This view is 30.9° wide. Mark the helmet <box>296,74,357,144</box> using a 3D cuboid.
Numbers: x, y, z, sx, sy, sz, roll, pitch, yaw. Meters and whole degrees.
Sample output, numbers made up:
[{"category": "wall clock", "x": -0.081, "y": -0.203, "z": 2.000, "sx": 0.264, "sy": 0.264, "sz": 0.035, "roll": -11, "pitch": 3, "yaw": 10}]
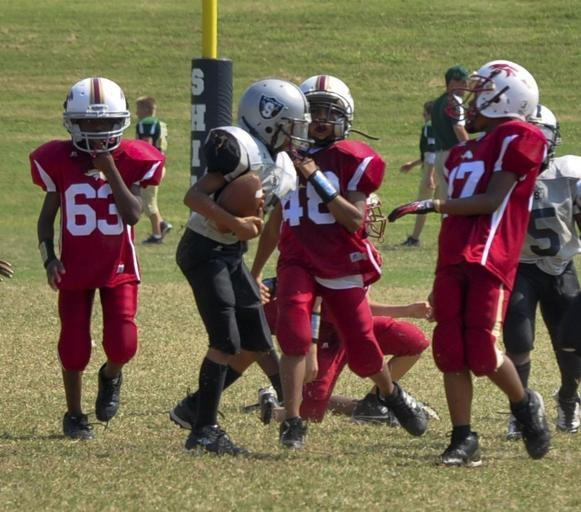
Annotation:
[{"category": "helmet", "x": 0.185, "y": -0.830, "z": 5.981, "sx": 0.333, "sy": 0.314, "sz": 0.410, "roll": 4, "pitch": -4, "yaw": 15}]

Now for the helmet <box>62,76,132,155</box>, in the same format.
[{"category": "helmet", "x": -1.075, "y": -0.812, "z": 5.956, "sx": 0.366, "sy": 0.357, "sz": 0.462, "roll": 0, "pitch": 19, "yaw": -6}]

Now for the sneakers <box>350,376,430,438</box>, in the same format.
[{"category": "sneakers", "x": 0.565, "y": 0.827, "z": 5.957, "sx": 0.448, "sy": 0.157, "sz": 0.194, "roll": 43, "pitch": 15, "yaw": 19}]

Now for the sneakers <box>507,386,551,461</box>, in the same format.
[{"category": "sneakers", "x": 1.314, "y": 0.900, "z": 5.634, "sx": 0.148, "sy": 0.408, "sz": 0.191, "roll": -24, "pitch": -19, "yaw": 32}]

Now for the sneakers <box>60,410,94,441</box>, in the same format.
[{"category": "sneakers", "x": -1.171, "y": 0.953, "z": 5.854, "sx": 0.086, "sy": 0.096, "sz": 0.240, "roll": 2, "pitch": 2, "yaw": -40}]

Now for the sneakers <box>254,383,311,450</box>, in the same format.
[{"category": "sneakers", "x": -0.025, "y": 0.869, "z": 5.759, "sx": 0.138, "sy": 0.379, "sz": 0.162, "roll": -16, "pitch": -22, "yaw": -40}]

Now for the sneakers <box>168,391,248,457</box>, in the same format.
[{"category": "sneakers", "x": -0.474, "y": 0.957, "z": 5.723, "sx": 0.534, "sy": 0.233, "sz": 0.190, "roll": 28, "pitch": 27, "yaw": 22}]

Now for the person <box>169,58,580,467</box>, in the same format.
[{"category": "person", "x": 0.687, "y": -0.008, "z": 5.672, "sx": 1.479, "sy": 2.023, "sz": 1.099, "roll": 2, "pitch": 16, "yaw": -2}]

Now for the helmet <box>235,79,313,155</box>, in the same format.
[{"category": "helmet", "x": -0.092, "y": -0.754, "z": 5.697, "sx": 0.415, "sy": 0.350, "sz": 0.293, "roll": 14, "pitch": 9, "yaw": -6}]

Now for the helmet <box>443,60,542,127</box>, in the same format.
[{"category": "helmet", "x": 1.119, "y": -0.897, "z": 5.845, "sx": 0.488, "sy": 0.345, "sz": 0.354, "roll": 14, "pitch": 6, "yaw": 8}]

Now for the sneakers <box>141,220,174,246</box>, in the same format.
[{"category": "sneakers", "x": -1.360, "y": -0.217, "z": 11.059, "sx": 0.400, "sy": 0.162, "sz": 0.152, "roll": -32, "pitch": -14, "yaw": 35}]

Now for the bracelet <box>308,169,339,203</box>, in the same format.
[{"category": "bracelet", "x": 0.186, "y": -0.365, "z": 5.725, "sx": 0.191, "sy": 0.114, "sz": 0.098, "roll": 51, "pitch": 19, "yaw": 18}]

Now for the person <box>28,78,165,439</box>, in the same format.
[{"category": "person", "x": -1.047, "y": 0.018, "z": 5.942, "sx": 0.659, "sy": 1.960, "sz": 0.668, "roll": -7, "pitch": 18, "yaw": -31}]

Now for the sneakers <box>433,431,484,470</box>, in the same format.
[{"category": "sneakers", "x": 0.877, "y": 1.024, "z": 5.512, "sx": 0.142, "sy": 0.154, "sz": 0.392, "roll": -5, "pitch": -2, "yaw": 36}]

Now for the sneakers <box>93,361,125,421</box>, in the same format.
[{"category": "sneakers", "x": -1.044, "y": 0.774, "z": 6.068, "sx": 0.132, "sy": 0.350, "sz": 0.148, "roll": 5, "pitch": -8, "yaw": -19}]

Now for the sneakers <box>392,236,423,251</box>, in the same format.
[{"category": "sneakers", "x": 1.175, "y": -0.119, "z": 10.780, "sx": 0.361, "sy": 0.136, "sz": 0.115, "roll": 2, "pitch": 0, "yaw": 0}]

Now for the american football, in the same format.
[{"category": "american football", "x": -0.189, "y": -0.301, "z": 5.515, "sx": 0.277, "sy": 0.236, "sz": 0.199, "roll": -21, "pitch": -7, "yaw": -3}]
